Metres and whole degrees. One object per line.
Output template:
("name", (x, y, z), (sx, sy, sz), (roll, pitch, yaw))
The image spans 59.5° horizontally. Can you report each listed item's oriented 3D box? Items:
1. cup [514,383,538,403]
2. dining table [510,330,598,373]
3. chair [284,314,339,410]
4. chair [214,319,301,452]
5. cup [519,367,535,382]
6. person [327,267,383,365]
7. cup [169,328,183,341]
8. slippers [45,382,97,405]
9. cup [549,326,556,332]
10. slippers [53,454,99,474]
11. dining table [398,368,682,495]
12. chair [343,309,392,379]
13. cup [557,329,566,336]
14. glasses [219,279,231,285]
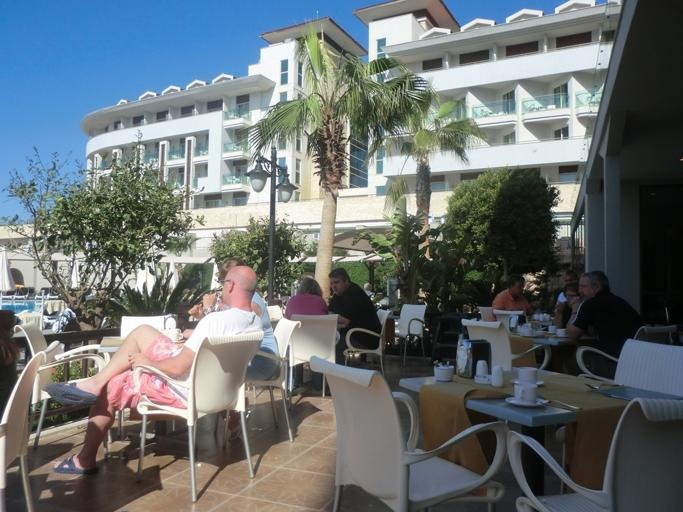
("cup", (1.407, 1.021, 4.540), (0.152, 0.122, 0.105), (-3, 4, -29))
("dining table", (2.742, 1.244, 7.917), (0.572, 0.500, 0.916), (-3, 4, -29))
("chair", (-0.399, 1.255, 8.041), (0.726, 1.496, 0.882), (1, 0, -2))
("chair", (-0.946, 1.483, 7.701), (1.161, 1.953, 1.042), (6, -12, -26))
("cup", (1.470, 0.932, 4.748), (0.102, 0.088, 0.112), (1, 3, 0))
("person", (0.167, 1.202, 9.943), (1.024, 2.019, 0.906), (0, 6, 3))
("cup", (-1.911, 0.898, 6.866), (0.126, 0.100, 0.097), (19, -25, -35))
("slippers", (-2.548, 1.314, 5.592), (0.383, 0.166, 0.223), (19, -7, -33))
("cup", (2.989, 1.015, 8.429), (0.068, 0.059, 0.073), (1, -5, 0))
("slippers", (-2.627, 2.064, 5.925), (0.332, 0.138, 0.190), (6, -13, 0))
("dining table", (1.490, 1.297, 4.481), (1.026, 0.303, 1.055), (-4, 7, -29))
("chair", (0.418, 1.421, 10.069), (0.947, 1.450, 0.970), (1, -8, 0))
("cup", (2.961, 1.021, 8.041), (0.084, 0.071, 0.090), (0, -10, 0))
("glasses", (-1.294, 0.279, 6.597), (0.097, 0.030, 0.104), (-5, 3, 2))
